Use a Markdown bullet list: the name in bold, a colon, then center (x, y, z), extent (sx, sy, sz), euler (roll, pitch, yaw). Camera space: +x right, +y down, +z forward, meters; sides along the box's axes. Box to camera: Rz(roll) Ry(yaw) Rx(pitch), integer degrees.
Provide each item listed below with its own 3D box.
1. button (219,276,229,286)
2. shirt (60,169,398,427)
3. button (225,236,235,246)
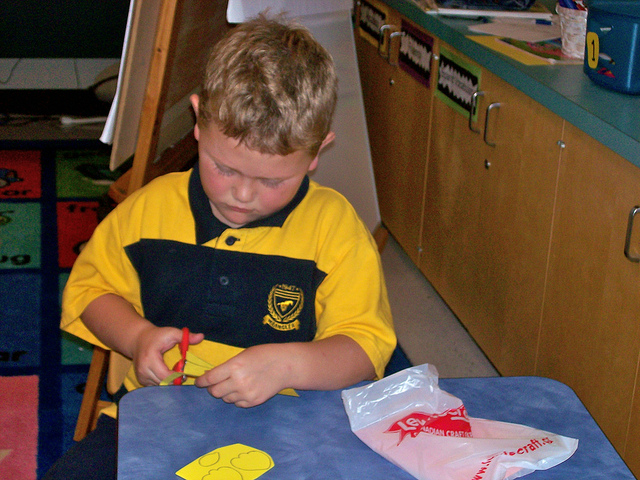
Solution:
- **button**: center (-0.189, 0.080, 1.141), extent (0.019, 0.016, 0.009), euler (3, 34, -1)
- **shirt**: center (-0.177, 0.047, 1.201), extent (0.681, 0.308, 0.326), euler (7, 34, 3)
- **button**: center (-0.179, 0.001, 1.147), extent (0.019, 0.014, 0.008), euler (2, 34, -4)
